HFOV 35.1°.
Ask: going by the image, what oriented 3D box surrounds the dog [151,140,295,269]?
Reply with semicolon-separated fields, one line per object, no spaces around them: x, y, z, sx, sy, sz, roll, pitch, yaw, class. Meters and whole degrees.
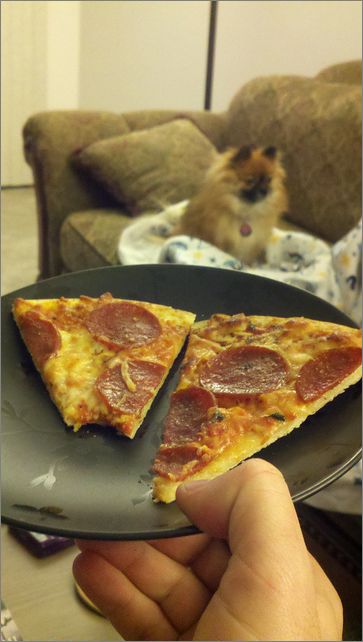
0.218;-0.447;2.237;0.327;0.468;0.474;-6;25;-19;dog
